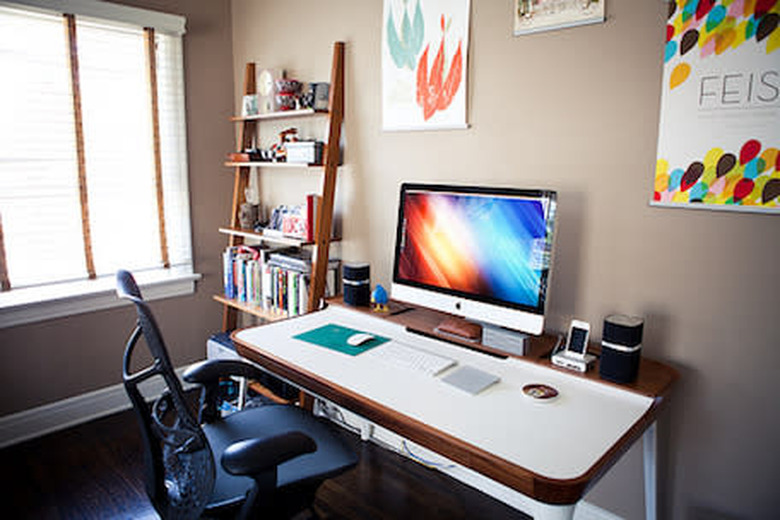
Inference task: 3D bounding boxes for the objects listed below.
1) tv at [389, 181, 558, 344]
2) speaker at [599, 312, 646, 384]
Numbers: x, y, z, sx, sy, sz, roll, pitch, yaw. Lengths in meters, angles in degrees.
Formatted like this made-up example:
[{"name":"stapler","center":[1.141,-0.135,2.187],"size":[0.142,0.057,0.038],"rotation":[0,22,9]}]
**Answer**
[{"name":"tv","center":[0.442,0.014,2.531],"size":[0.728,0.541,0.218],"rotation":[12,19,37]},{"name":"speaker","center":[1.016,0.391,2.240],"size":[0.185,0.360,0.208],"rotation":[9,17,38]}]
